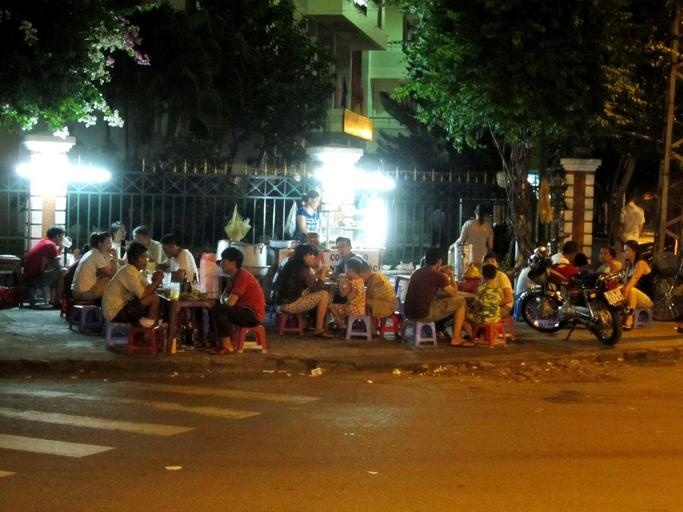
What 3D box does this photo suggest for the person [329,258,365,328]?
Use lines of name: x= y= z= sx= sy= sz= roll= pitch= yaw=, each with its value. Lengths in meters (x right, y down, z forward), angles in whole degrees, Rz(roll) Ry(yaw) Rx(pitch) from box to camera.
person: x=0.133 y=0.690 z=13.522 sx=0.625 sy=1.272 sz=0.395 roll=2 pitch=5 yaw=3

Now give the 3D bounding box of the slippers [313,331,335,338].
slippers: x=-0.311 y=1.397 z=13.332 sx=0.240 sy=0.089 sz=0.137 roll=1 pitch=0 yaw=21

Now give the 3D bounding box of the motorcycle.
motorcycle: x=4.400 y=0.695 z=14.339 sx=1.219 sy=1.787 sz=2.505 roll=-9 pitch=5 yaw=-27

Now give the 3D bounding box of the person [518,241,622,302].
person: x=4.269 y=0.313 z=14.831 sx=1.219 sy=0.915 sz=0.900 roll=2 pitch=7 yaw=1

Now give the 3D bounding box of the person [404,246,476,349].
person: x=1.642 y=0.691 z=12.958 sx=1.085 sy=1.635 sz=0.401 roll=2 pitch=5 yaw=4

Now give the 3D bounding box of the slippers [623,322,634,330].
slippers: x=5.770 y=1.426 z=15.247 sx=0.165 sy=0.182 sz=0.048 roll=5 pitch=2 yaw=-4

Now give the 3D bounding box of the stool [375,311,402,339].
stool: x=0.869 y=1.299 z=13.992 sx=0.426 sy=0.465 sz=0.462 roll=1 pitch=2 yaw=4

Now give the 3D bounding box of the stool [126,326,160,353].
stool: x=-3.013 y=1.300 z=11.642 sx=0.408 sy=0.381 sz=0.438 roll=1 pitch=-4 yaw=-5

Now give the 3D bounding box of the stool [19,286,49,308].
stool: x=-6.778 y=0.947 z=16.730 sx=0.530 sy=0.469 sz=0.577 roll=0 pitch=-4 yaw=13

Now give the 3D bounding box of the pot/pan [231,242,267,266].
pot/pan: x=-1.899 y=0.054 z=16.391 sx=0.560 sy=0.443 sz=0.522 roll=0 pitch=-4 yaw=0

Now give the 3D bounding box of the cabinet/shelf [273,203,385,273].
cabinet/shelf: x=0.218 y=-0.593 z=16.488 sx=1.618 sy=1.241 sz=1.566 roll=-4 pitch=5 yaw=-44

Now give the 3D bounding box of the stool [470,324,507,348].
stool: x=2.550 y=1.342 z=13.180 sx=0.428 sy=0.367 sz=0.425 roll=0 pitch=-2 yaw=-34

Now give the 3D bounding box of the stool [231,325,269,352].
stool: x=-1.485 y=1.325 z=12.030 sx=0.415 sy=0.383 sz=0.432 roll=1 pitch=-4 yaw=-19

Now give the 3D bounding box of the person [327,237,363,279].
person: x=0.056 y=0.140 z=14.433 sx=0.615 sy=1.070 sz=0.707 roll=-7 pitch=10 yaw=-39

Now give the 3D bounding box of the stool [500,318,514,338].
stool: x=2.960 y=1.281 z=13.499 sx=0.308 sy=0.365 sz=0.328 roll=-3 pitch=4 yaw=32

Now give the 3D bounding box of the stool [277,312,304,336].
stool: x=-0.924 y=1.248 z=13.882 sx=0.391 sy=0.418 sz=0.415 roll=1 pitch=-3 yaw=-11

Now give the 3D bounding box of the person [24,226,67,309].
person: x=-6.231 y=0.219 z=16.124 sx=0.828 sy=1.719 sz=0.903 roll=3 pitch=3 yaw=-5

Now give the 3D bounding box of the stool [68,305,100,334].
stool: x=-4.555 y=1.121 z=13.443 sx=0.525 sy=0.523 sz=0.522 roll=7 pitch=-5 yaw=-35

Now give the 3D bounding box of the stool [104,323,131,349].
stool: x=-3.584 y=1.259 z=12.060 sx=0.442 sy=0.469 sz=0.466 roll=1 pitch=-3 yaw=-14

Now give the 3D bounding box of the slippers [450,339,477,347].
slippers: x=2.094 y=1.490 z=12.865 sx=0.425 sy=0.096 sz=0.260 roll=2 pitch=5 yaw=1

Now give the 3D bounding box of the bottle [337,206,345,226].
bottle: x=-0.002 y=-0.848 z=16.668 sx=0.085 sy=0.300 sz=0.206 roll=2 pitch=2 yaw=17

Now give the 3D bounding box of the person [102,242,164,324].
person: x=-3.311 y=0.436 z=11.890 sx=0.872 sy=1.238 sz=0.450 roll=2 pitch=5 yaw=8

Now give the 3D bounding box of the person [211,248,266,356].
person: x=-1.731 y=0.687 z=12.078 sx=0.923 sy=1.655 sz=0.896 roll=6 pitch=-4 yaw=-38

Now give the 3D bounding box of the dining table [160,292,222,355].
dining table: x=-2.369 y=1.025 z=11.846 sx=0.748 sy=0.807 sz=0.803 roll=1 pitch=-3 yaw=-5

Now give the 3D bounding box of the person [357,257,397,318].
person: x=0.628 y=0.581 z=13.747 sx=0.702 sy=1.061 sz=0.604 roll=-5 pitch=15 yaw=6

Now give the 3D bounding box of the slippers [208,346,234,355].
slippers: x=-1.857 y=1.447 z=11.626 sx=0.388 sy=0.075 sz=0.303 roll=1 pitch=5 yaw=-12

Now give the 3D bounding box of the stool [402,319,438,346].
stool: x=1.372 y=1.365 z=13.227 sx=0.447 sy=0.416 sz=0.450 roll=1 pitch=-3 yaw=-31

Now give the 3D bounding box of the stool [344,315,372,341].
stool: x=0.331 y=1.306 z=13.652 sx=0.385 sy=0.415 sz=0.418 roll=0 pitch=-8 yaw=2
